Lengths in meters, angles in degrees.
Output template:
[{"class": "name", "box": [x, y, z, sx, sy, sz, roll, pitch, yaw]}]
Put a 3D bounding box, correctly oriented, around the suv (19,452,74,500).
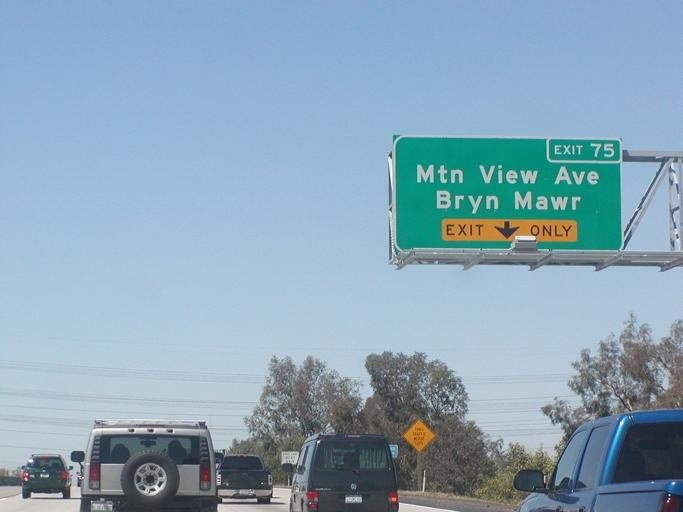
[{"class": "suv", "box": [-13.634, 10.065, 66.955, 1.880, 2.146, 4.589, 2, -5, -12]}]
